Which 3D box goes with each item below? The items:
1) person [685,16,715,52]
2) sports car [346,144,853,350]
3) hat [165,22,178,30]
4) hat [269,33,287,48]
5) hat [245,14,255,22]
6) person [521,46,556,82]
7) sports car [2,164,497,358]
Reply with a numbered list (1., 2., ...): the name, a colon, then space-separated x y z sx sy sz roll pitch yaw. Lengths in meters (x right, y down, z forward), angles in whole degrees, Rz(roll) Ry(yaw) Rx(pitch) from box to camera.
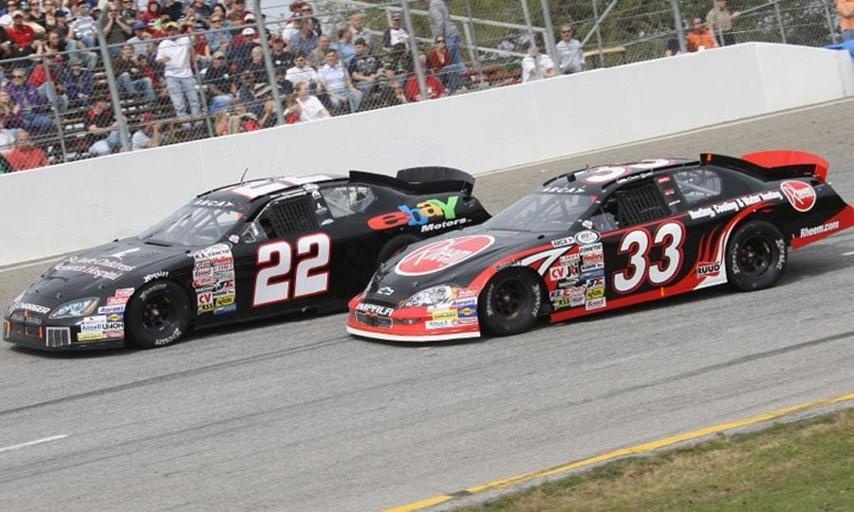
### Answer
1. person: 5.468 -4.428 18.826 0.851 0.612 0.294 -6 0 -17
2. sports car: 2.578 -0.157 12.826 6.661 1.406 2.647 -9 12 -7
3. hat: -4.766 -4.268 17.427 0.171 0.096 0.199 -10 -28 -4
4. hat: -2.627 -3.782 16.418 0.230 0.208 0.229 4 5 -1
5. hat: -3.213 -4.294 16.858 0.270 0.088 0.368 -4 15 -7
6. person: 2.094 -3.649 17.915 0.691 0.663 0.776 -11 9 -24
7. sports car: -2.445 0.019 13.762 6.906 1.401 2.680 -8 8 -19
